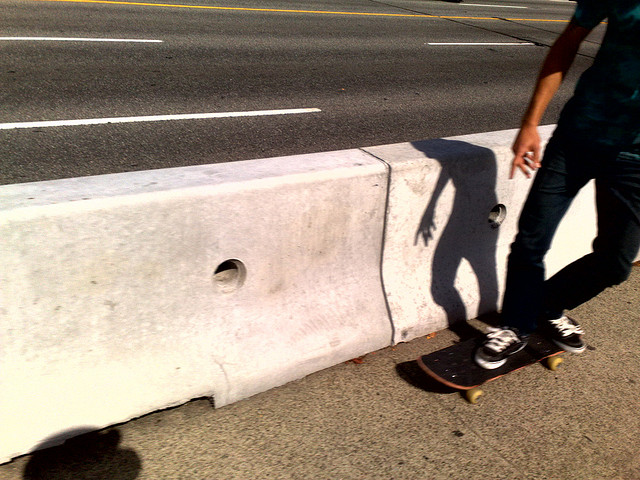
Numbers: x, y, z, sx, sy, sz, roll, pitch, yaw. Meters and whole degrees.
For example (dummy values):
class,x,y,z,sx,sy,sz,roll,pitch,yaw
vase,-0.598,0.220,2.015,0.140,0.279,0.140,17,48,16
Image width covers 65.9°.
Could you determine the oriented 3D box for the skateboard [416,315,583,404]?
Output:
class,x,y,z,sx,sy,sz,roll,pitch,yaw
skateboard,1.182,0.690,2.908,1.327,0.147,0.289,-8,32,-20
